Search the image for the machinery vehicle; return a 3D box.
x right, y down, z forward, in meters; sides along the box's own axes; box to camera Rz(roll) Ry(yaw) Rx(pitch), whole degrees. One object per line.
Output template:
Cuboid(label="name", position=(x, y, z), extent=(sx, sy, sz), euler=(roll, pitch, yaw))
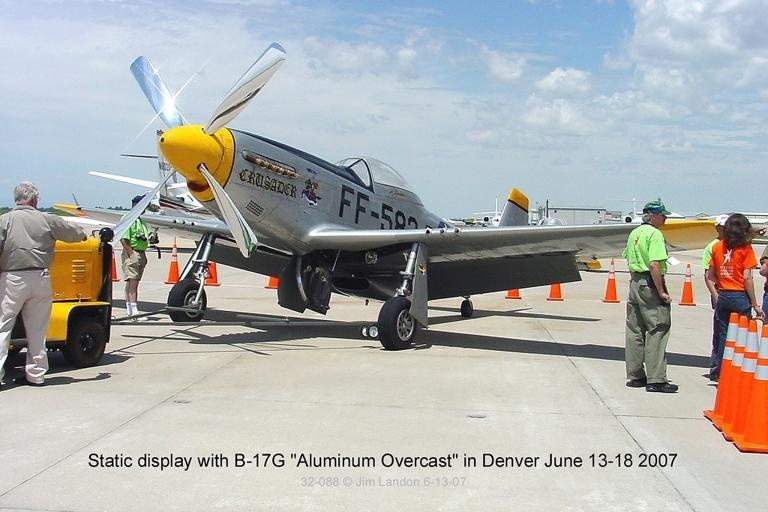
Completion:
Cuboid(label="machinery vehicle", position=(0.073, -0.274, 8.187), extent=(5.490, 1.962, 6.064), euler=(15, -7, -43))

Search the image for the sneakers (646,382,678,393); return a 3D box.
Cuboid(label="sneakers", position=(2.916, 1.383, 6.001), extent=(0.310, 0.107, 0.122), euler=(-1, -1, 6))
